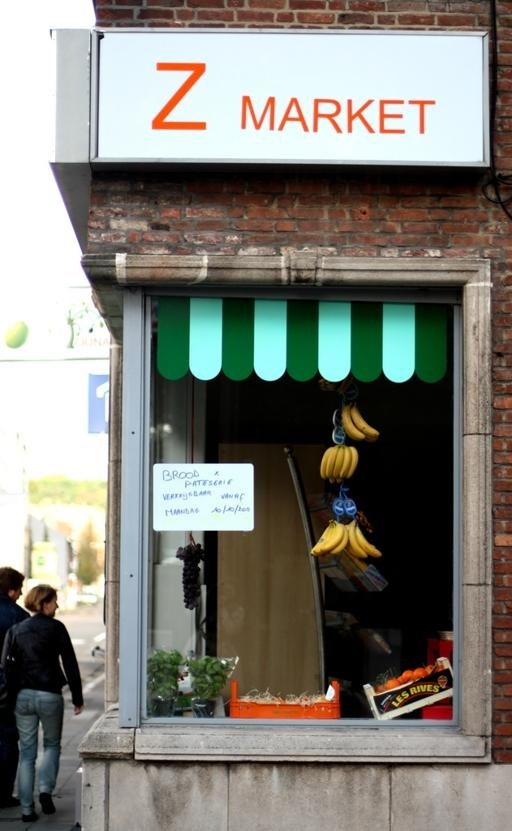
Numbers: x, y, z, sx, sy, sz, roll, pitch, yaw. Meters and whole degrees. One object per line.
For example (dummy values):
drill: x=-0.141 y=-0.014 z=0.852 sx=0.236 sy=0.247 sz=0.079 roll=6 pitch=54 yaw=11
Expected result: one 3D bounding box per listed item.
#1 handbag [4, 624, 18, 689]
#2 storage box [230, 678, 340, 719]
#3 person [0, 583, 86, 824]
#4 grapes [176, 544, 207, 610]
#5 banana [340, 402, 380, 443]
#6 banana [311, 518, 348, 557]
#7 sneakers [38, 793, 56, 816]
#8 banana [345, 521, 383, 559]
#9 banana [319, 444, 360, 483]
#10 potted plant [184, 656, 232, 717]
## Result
handbag: x=-1.566 y=1.574 z=8.628 sx=0.083 sy=0.315 sz=0.206 roll=-4 pitch=2 yaw=4
storage box: x=0.153 y=1.529 z=7.230 sx=0.594 sy=0.206 sz=0.189 roll=0 pitch=-8 yaw=3
person: x=-1.382 y=1.847 z=8.697 sx=0.513 sy=1.489 sz=0.398 roll=1 pitch=-8 yaw=-7
grapes: x=-0.358 y=0.875 z=7.320 sx=0.140 sy=0.362 sz=0.173 roll=1 pitch=-8 yaw=-4
banana: x=0.572 y=0.052 z=7.496 sx=0.212 sy=0.184 sz=0.110 roll=0 pitch=-8 yaw=-1
banana: x=0.418 y=0.693 z=7.472 sx=0.137 sy=0.220 sz=0.135 roll=32 pitch=11 yaw=-29
sneakers: x=-1.337 y=2.509 z=8.688 sx=0.072 sy=0.170 sz=0.100 roll=-7 pitch=-6 yaw=0
banana: x=0.602 y=0.700 z=7.466 sx=0.064 sy=0.154 sz=0.185 roll=-22 pitch=-48 yaw=37
banana: x=0.457 y=0.279 z=7.520 sx=0.142 sy=0.234 sz=0.072 roll=8 pitch=2 yaw=10
potted plant: x=-0.249 y=1.471 z=7.262 sx=0.236 sy=0.318 sz=0.260 roll=11 pitch=-18 yaw=-27
